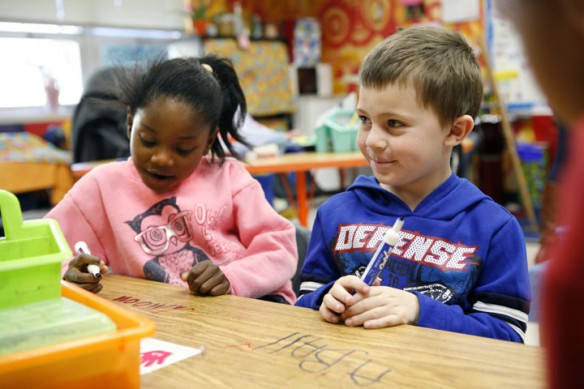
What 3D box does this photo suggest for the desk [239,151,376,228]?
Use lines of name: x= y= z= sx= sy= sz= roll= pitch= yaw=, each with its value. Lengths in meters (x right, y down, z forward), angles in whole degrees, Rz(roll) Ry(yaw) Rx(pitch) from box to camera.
desk: x=0.053 y=-0.004 z=3.086 sx=0.502 sy=0.468 sz=0.502 roll=-5 pitch=5 yaw=-43
